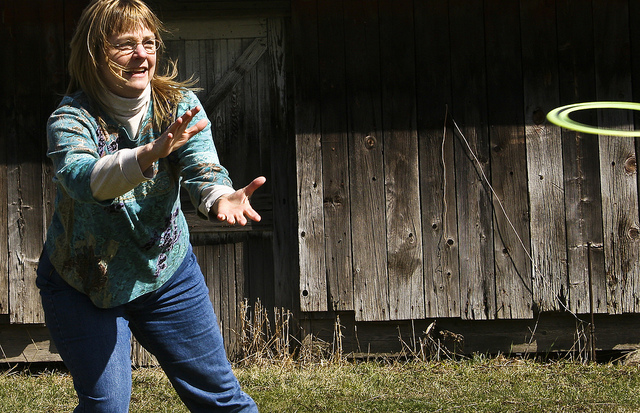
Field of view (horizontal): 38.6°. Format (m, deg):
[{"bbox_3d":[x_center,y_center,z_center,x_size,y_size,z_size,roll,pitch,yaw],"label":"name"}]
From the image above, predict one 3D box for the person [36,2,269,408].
[{"bbox_3d":[-1.428,0.001,7.258,1.511,3.239,0.906,2,-2,-19],"label":"person"}]
